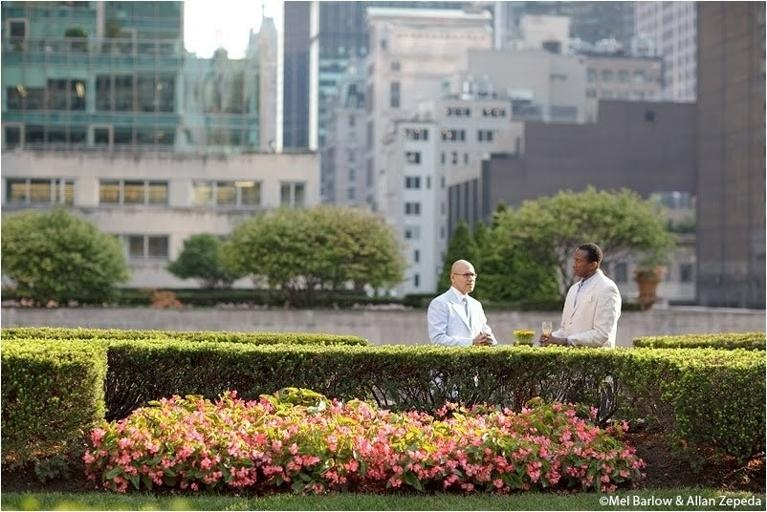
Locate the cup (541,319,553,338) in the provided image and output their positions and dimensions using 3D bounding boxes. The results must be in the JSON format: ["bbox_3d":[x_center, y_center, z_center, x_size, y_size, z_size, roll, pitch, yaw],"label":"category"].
[{"bbox_3d":[3.008,1.303,34.704,0.278,0.397,0.267,-1,-1,0],"label":"cup"}]

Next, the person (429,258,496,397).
[{"bbox_3d":[1.412,1.294,34.918,1.182,2.464,0.957,-1,1,1],"label":"person"}]

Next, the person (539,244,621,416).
[{"bbox_3d":[3.713,0.706,34.850,1.310,1.919,0.641,-1,1,5],"label":"person"}]

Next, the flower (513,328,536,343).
[{"bbox_3d":[2.624,1.472,35.106,0.423,0.266,0.404,-1,-3,6],"label":"flower"}]

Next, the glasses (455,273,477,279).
[{"bbox_3d":[1.522,0.321,34.826,0.335,0.103,0.111,-1,1,-26],"label":"glasses"}]
